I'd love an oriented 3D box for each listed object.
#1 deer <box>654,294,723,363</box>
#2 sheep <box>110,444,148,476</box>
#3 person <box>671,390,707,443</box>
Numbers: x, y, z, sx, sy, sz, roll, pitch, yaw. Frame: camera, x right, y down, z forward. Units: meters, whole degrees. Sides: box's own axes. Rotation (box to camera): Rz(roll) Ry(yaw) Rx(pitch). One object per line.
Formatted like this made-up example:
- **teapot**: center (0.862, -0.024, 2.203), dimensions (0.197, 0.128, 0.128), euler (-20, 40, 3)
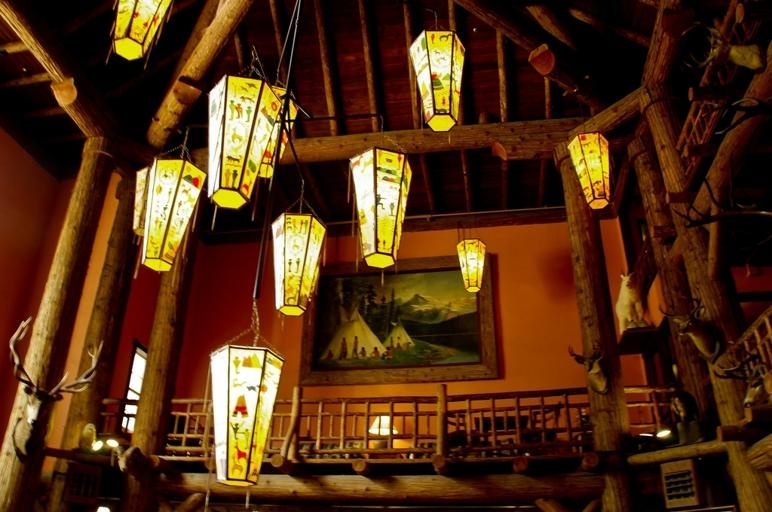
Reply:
- **deer**: center (3.709, 0.896, 6.899), dimensions (0.521, 0.820, 0.298), euler (8, -24, -15)
- **sheep**: center (-3.638, 2.976, 8.258), dimensions (0.490, 0.391, 0.369), euler (12, -25, -21)
- **person**: center (3.894, 2.117, 7.445), dimensions (0.309, 0.701, 0.400), euler (-9, -25, 24)
